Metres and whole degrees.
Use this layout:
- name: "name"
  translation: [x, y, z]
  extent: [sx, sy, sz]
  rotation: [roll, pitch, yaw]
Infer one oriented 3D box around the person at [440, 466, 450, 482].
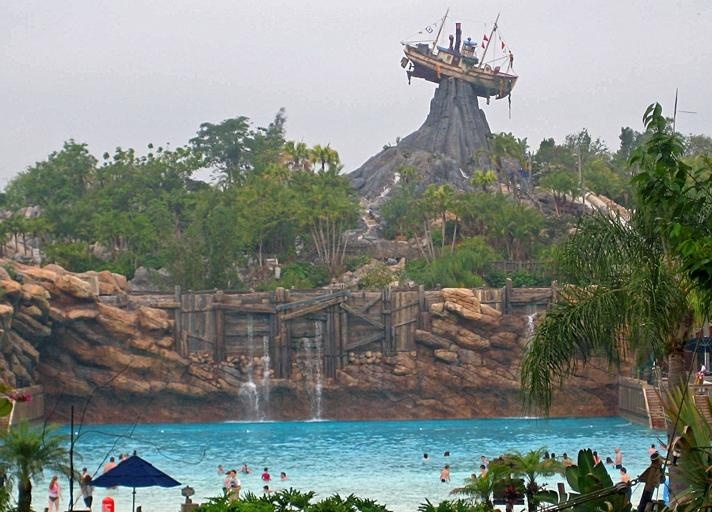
- name: "person"
  translation: [5.478, 13.328, 93.266]
  extent: [0.612, 1.120, 1.456]
  rotation: [-2, -13, 3]
